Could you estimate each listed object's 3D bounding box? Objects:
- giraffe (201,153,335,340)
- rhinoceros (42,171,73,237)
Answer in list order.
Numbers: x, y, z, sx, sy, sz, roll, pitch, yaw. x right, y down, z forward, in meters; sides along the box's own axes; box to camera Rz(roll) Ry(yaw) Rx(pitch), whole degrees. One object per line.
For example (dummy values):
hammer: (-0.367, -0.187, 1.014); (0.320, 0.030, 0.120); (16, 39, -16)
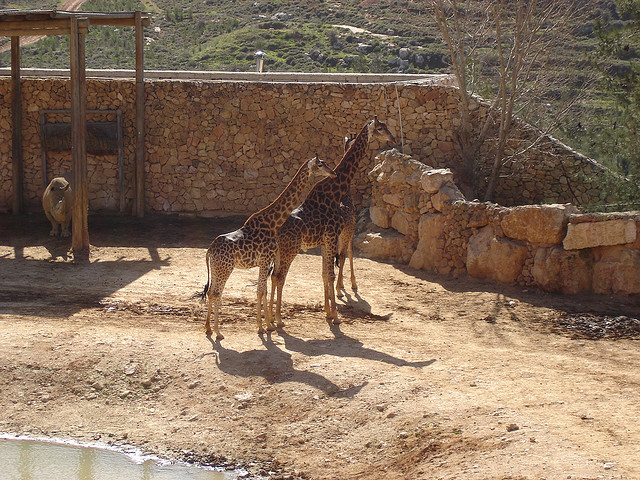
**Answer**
giraffe: (-1.036, 0.128, 16.963); (1.885, 2.948, 0.703); (-8, 15, -44)
rhinoceros: (-5.886, -0.758, 22.408); (0.720, 1.266, 1.801); (-1, 1, -13)
